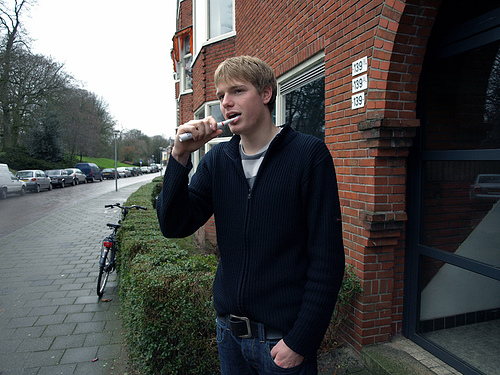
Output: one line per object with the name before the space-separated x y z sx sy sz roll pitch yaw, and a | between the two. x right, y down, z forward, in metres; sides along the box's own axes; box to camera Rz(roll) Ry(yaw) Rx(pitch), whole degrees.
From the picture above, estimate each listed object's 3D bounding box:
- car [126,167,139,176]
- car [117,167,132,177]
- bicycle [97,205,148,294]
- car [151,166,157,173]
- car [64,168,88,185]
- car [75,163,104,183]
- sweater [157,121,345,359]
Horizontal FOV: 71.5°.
car | -18.093 -2.615 54.071 1.021 1.023 1.849 -1 16 -4
car | -17.014 -2.097 47.349 1.224 1.111 2.873 -3 14 -5
bicycle | -2.241 1.119 6.439 0.648 0.950 1.499 -5 10 -1
car | -19.200 -3.742 70.602 0.598 1.193 2.720 0 4 -7
car | -16.238 -1.110 32.486 1.215 1.179 2.358 0 7 3
car | -16.988 -1.754 37.080 1.423 1.362 2.641 -1 8 0
sweater | 0.040 0.255 2.003 0.967 1.251 0.283 3 5 19
